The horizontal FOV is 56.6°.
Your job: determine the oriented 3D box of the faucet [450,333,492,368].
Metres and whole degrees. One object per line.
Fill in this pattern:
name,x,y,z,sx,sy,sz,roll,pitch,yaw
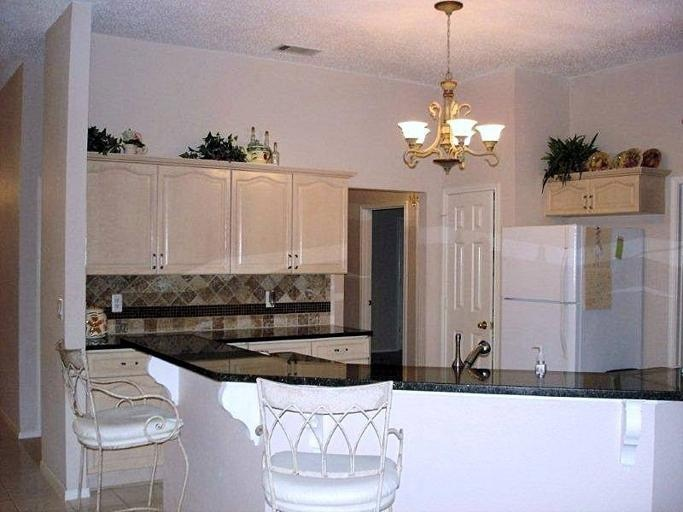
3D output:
faucet,0.773,0.588,3.857,0.212,0.226,0.369,-1,-2,10

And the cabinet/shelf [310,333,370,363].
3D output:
cabinet/shelf,0.001,0.874,5.948,0.452,0.425,0.277,0,-1,-33

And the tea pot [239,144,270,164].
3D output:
tea pot,-0.776,-0.918,5.791,0.191,0.117,0.193,1,5,0

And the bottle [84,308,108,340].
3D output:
bottle,-2.052,0.569,5.297,0.221,0.245,0.228,1,-4,-17

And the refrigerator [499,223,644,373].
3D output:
refrigerator,2.323,0.473,6.078,0.845,1.367,0.828,0,-3,-4

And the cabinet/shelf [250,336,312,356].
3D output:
cabinet/shelf,-0.538,0.817,5.667,0.599,0.154,0.130,1,-2,-28

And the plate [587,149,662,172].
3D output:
plate,2.704,-0.861,6.026,0.448,0.160,0.263,0,-5,40

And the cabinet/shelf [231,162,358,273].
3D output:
cabinet/shelf,-0.532,-0.330,6.006,1.202,0.993,0.429,0,1,-22

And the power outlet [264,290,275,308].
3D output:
power outlet,-0.710,0.420,6.190,0.033,0.140,0.139,0,-3,36

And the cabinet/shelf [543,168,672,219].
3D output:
cabinet/shelf,2.558,-0.611,6.260,0.373,0.417,1.191,0,2,-28

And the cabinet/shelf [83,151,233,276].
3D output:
cabinet/shelf,-1.518,-0.330,5.521,1.354,0.974,0.469,2,5,9
